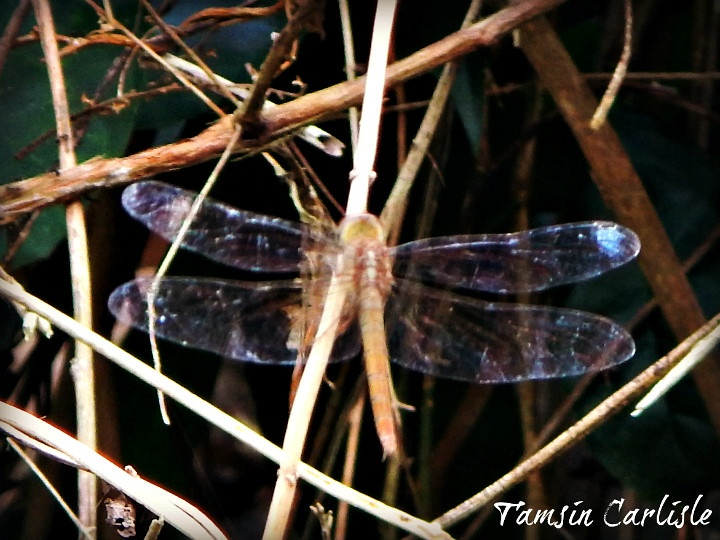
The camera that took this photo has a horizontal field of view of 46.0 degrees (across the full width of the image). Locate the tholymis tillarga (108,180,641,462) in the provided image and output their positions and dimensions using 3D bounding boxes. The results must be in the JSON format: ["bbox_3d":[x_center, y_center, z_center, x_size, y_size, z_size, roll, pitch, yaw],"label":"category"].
[{"bbox_3d":[0.021,0.056,1.118,0.714,0.328,0.344,6,9,-2],"label":"tholymis tillarga"}]
